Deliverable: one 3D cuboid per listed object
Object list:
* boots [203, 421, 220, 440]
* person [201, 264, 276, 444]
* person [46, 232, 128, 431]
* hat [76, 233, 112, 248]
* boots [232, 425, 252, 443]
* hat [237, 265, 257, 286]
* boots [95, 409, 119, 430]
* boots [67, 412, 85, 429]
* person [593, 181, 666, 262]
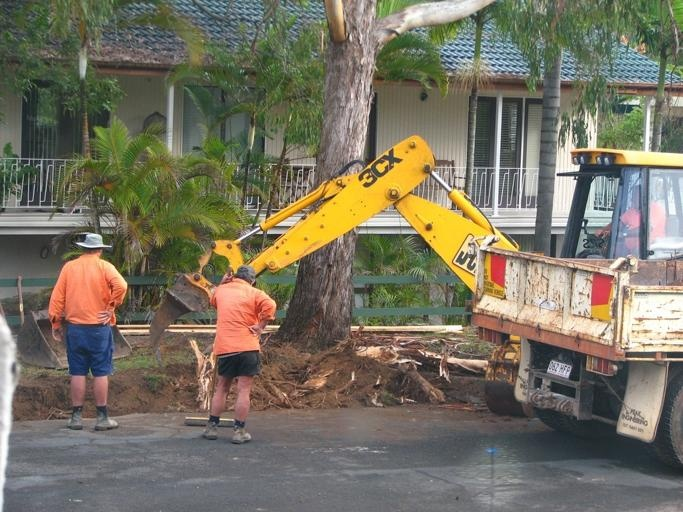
[{"bbox_3d":[-1.922,2.574,20.134,0.226,0.236,0.195,0,5,-4],"label":"boots"},{"bbox_3d":[-1.515,1.453,20.174,0.961,2.504,0.745,0,5,-6],"label":"person"},{"bbox_3d":[-3.728,1.133,20.390,1.072,2.854,0.665,-1,5,-12],"label":"person"},{"bbox_3d":[-3.691,-0.198,20.709,0.394,0.182,0.486,5,-5,-3],"label":"hat"},{"bbox_3d":[-1.457,2.619,20.042,0.130,0.276,0.380,2,7,30],"label":"boots"},{"bbox_3d":[-1.399,0.285,20.483,0.212,0.315,0.282,9,11,15],"label":"hat"},{"bbox_3d":[-3.473,2.435,20.418,0.380,0.268,0.372,-1,6,-16],"label":"boots"},{"bbox_3d":[-3.925,2.438,20.367,0.232,0.250,0.319,-1,6,-12],"label":"boots"},{"bbox_3d":[4.314,-0.426,20.580,1.033,0.581,0.577,-6,-5,44],"label":"person"}]
